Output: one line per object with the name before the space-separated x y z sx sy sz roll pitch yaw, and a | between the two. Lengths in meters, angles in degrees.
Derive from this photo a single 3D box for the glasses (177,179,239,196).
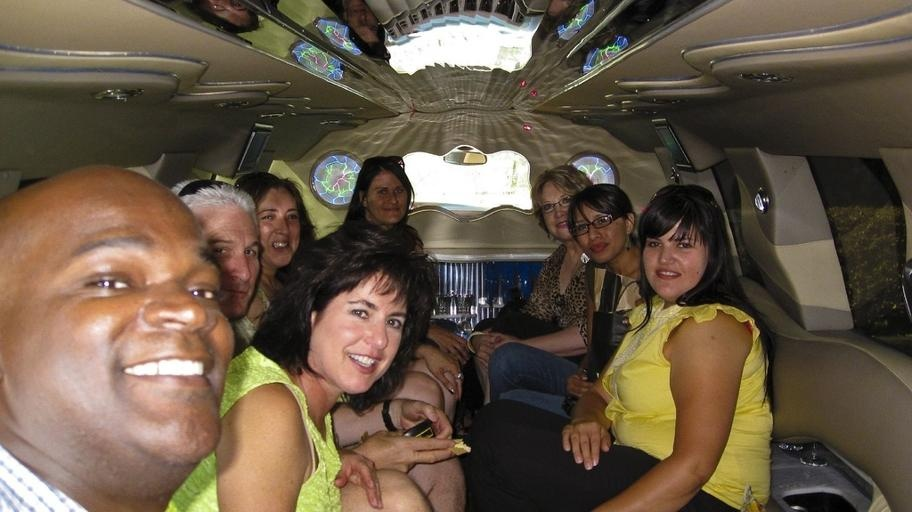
glasses | -1.266 -0.335 2.431 0.151 0.079 0.163 11 23 15

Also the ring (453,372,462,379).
ring | -0.018 0.840 3.535 0.058 0.033 0.070 1 -9 0

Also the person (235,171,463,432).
person | -0.964 0.165 3.626 1.466 1.692 0.712 -6 0 -6

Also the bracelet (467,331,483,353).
bracelet | 0.125 0.694 4.006 0.133 0.150 0.060 4 -8 26
